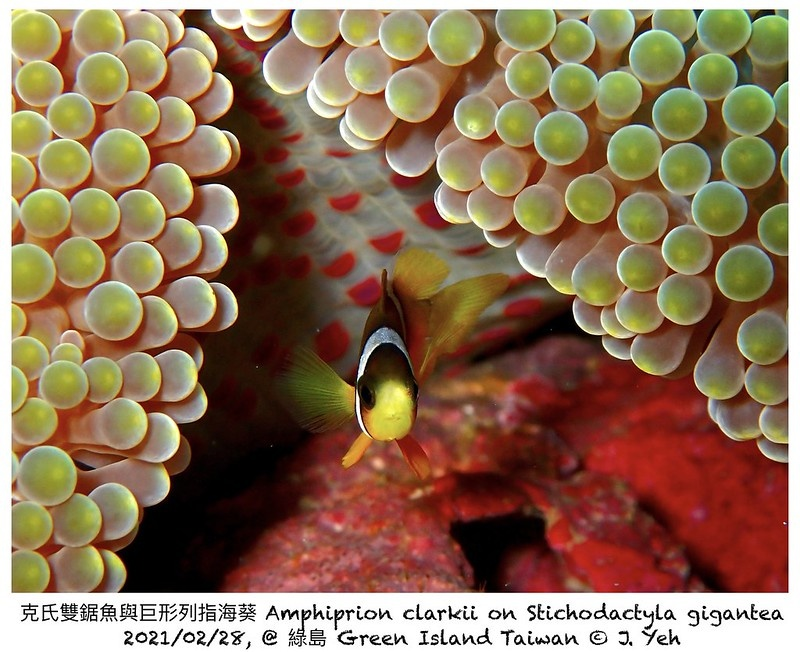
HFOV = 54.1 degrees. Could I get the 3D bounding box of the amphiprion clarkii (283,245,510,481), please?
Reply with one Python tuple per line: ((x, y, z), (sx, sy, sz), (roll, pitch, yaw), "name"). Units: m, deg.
((-0.022, 0.045, 1.670), (0.358, 0.564, 0.311), (-1, 106, 2), "amphiprion clarkii")
